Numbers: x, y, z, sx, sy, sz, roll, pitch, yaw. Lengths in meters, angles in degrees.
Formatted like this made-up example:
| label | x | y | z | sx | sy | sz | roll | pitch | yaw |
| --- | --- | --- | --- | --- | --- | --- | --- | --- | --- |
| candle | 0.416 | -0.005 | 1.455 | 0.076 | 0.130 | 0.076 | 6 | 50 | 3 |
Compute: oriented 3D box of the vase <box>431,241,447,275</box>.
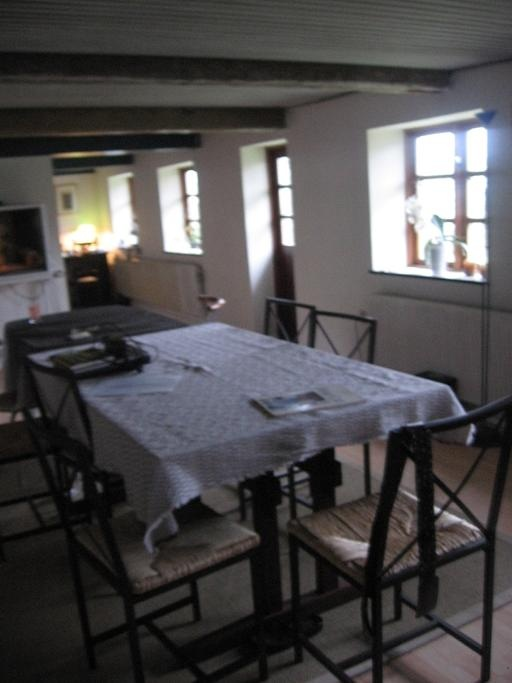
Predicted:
| label | x | y | z | sx | sy | sz | roll | pitch | yaw |
| --- | --- | --- | --- | --- | --- | --- | --- | --- | --- |
| vase | 1.151 | -0.524 | 3.748 | 0.095 | 0.207 | 0.092 | -2 | 11 | 17 |

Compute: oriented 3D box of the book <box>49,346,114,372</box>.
| label | x | y | z | sx | sy | sz | roll | pitch | yaw |
| --- | --- | --- | --- | --- | --- | --- | --- | --- | --- |
| book | -0.695 | 0.070 | 2.384 | 0.154 | 0.018 | 0.169 | -15 | 20 | -40 |

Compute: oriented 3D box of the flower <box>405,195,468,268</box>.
| label | x | y | z | sx | sy | sz | roll | pitch | yaw |
| --- | --- | --- | --- | --- | --- | --- | --- | --- | --- |
| flower | 1.154 | -0.678 | 3.995 | 0.355 | 0.538 | 0.543 | -18 | -1 | 18 |

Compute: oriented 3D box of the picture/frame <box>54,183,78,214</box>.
| label | x | y | z | sx | sy | sz | roll | pitch | yaw |
| --- | --- | --- | --- | --- | --- | --- | --- | --- | --- |
| picture/frame | -3.067 | -2.319 | 9.635 | 0.368 | 0.470 | 0.080 | -12 | 13 | -34 |

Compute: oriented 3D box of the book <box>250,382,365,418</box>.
| label | x | y | z | sx | sy | sz | roll | pitch | yaw |
| --- | --- | --- | --- | --- | --- | --- | --- | --- | --- |
| book | 0.153 | 0.177 | 1.771 | 0.322 | 0.016 | 0.224 | -8 | 10 | -19 |

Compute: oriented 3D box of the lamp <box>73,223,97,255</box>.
| label | x | y | z | sx | sy | sz | roll | pitch | yaw |
| --- | --- | --- | --- | --- | --- | --- | --- | --- | --- |
| lamp | -2.726 | -1.639 | 9.420 | 0.405 | 0.477 | 0.882 | -8 | 10 | -14 |
